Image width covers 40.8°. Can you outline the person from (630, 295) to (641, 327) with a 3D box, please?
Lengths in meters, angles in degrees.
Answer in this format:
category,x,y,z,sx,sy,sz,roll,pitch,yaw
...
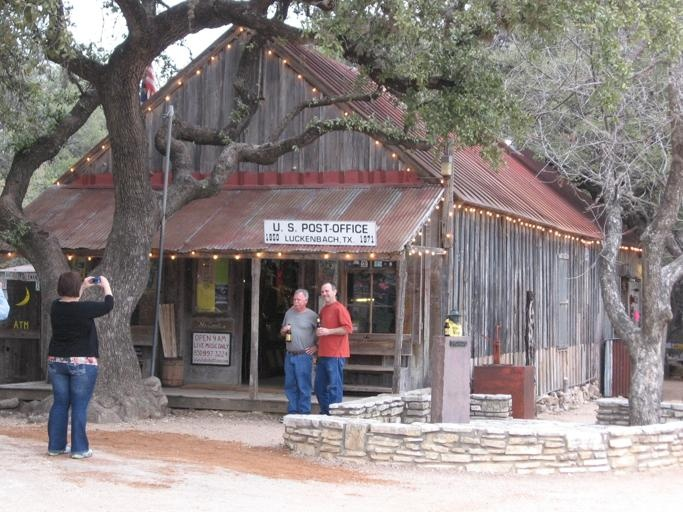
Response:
category,x,y,z,sx,sy,sz,roll,pitch,yaw
person,9.263,1.690,29.008,0.221,1.044,1.019,1,4,12

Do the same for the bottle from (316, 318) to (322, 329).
category,x,y,z,sx,sy,sz,roll,pitch,yaw
bottle,-0.387,1.164,16.074,0.102,0.323,0.113,1,-2,-5

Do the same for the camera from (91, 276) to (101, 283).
category,x,y,z,sx,sy,sz,roll,pitch,yaw
camera,-3.443,0.328,12.939,0.130,0.081,0.212,3,-10,-16

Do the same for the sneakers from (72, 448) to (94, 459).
category,x,y,z,sx,sy,sz,roll,pitch,yaw
sneakers,-3.657,2.796,13.013,0.098,0.150,0.289,1,2,28

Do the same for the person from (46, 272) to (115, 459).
category,x,y,z,sx,sy,sz,roll,pitch,yaw
person,-3.758,1.518,13.005,0.982,2.604,0.616,-3,-8,24

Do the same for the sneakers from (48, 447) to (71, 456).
category,x,y,z,sx,sy,sz,roll,pitch,yaw
sneakers,-4.030,2.783,13.179,0.112,0.156,0.318,3,4,37
